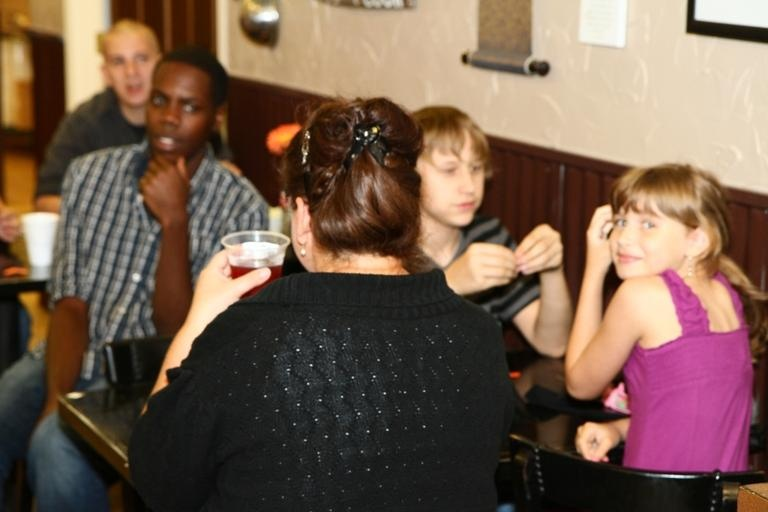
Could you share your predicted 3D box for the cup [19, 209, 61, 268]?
[{"bbox_3d":[-1.343,-0.073,2.632,0.191,0.232,0.194,-1,7,0],"label":"cup"}]
